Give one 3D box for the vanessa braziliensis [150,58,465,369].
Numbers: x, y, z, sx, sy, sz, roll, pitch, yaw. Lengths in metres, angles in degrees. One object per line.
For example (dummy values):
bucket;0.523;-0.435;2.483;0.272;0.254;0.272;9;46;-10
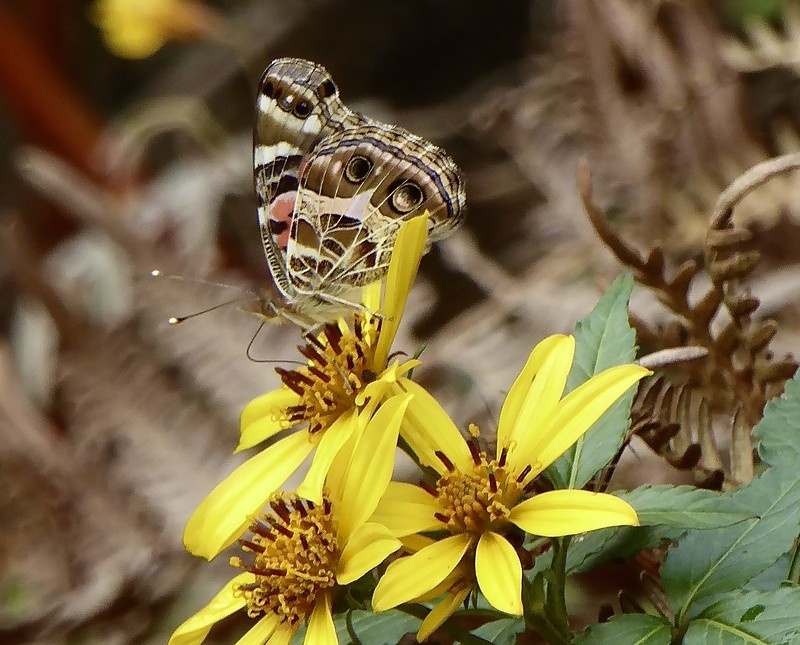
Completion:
vanessa braziliensis;-0.276;-0.533;6.367;1.122;1.340;1.155;-8;7;6
